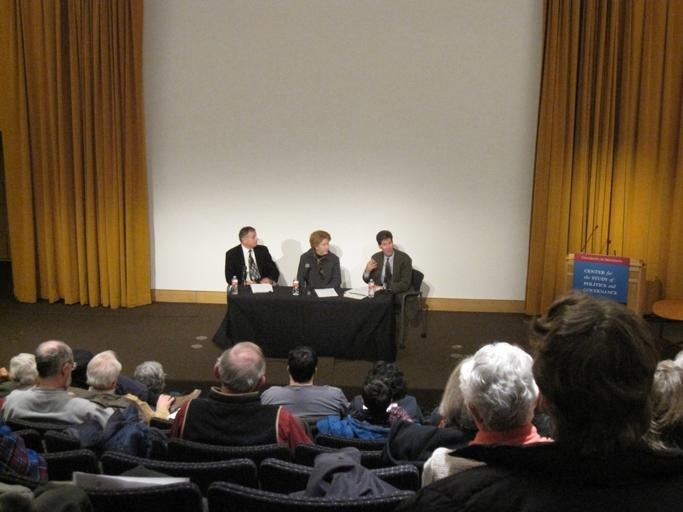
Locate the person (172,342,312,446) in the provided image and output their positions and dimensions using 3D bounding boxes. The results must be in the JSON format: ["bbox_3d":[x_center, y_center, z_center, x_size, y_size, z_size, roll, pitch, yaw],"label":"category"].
[{"bbox_3d":[-0.489,0.688,2.884,0.669,0.475,0.332,-1,1,-19],"label":"person"}]

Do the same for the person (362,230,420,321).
[{"bbox_3d":[0.466,0.281,6.045,0.469,1.042,0.566,2,21,31],"label":"person"}]

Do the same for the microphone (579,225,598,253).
[{"bbox_3d":[2.656,-0.192,6.302,0.186,0.291,0.145,0,1,25],"label":"microphone"}]

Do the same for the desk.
[{"bbox_3d":[-0.321,0.545,5.506,1.630,0.670,0.617,3,29,2],"label":"desk"}]

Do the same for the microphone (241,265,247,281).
[{"bbox_3d":[-1.002,0.178,6.049,0.053,0.128,0.074,-1,1,-14],"label":"microphone"}]

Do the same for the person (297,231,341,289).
[{"bbox_3d":[-0.223,0.030,5.940,0.467,0.806,0.525,0,8,-2],"label":"person"}]

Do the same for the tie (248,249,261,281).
[{"bbox_3d":[-0.925,0.104,6.105,0.156,0.310,0.066,0,-5,1],"label":"tie"}]
